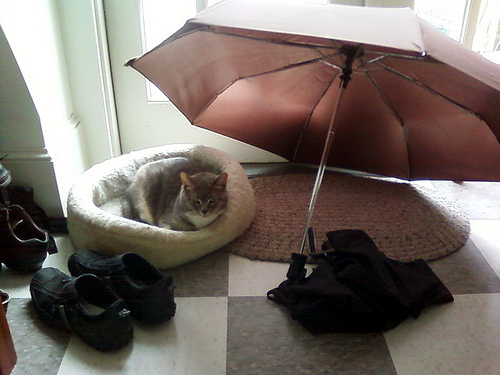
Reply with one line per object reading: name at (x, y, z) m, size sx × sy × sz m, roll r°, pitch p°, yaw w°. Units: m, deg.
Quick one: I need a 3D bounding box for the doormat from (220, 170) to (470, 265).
doormat at (0.522, 0.123, 2.177) m, size 1.233 × 0.104 × 1.072 m, roll -4°, pitch 22°, yaw -10°

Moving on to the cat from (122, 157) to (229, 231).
cat at (-0.383, 0.039, 1.881) m, size 0.469 × 0.239 × 0.373 m, roll 29°, pitch 39°, yaw 27°

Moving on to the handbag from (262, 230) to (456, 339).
handbag at (0.459, 0.401, 1.525) m, size 0.557 × 0.179 × 0.419 m, roll -17°, pitch 30°, yaw -18°
